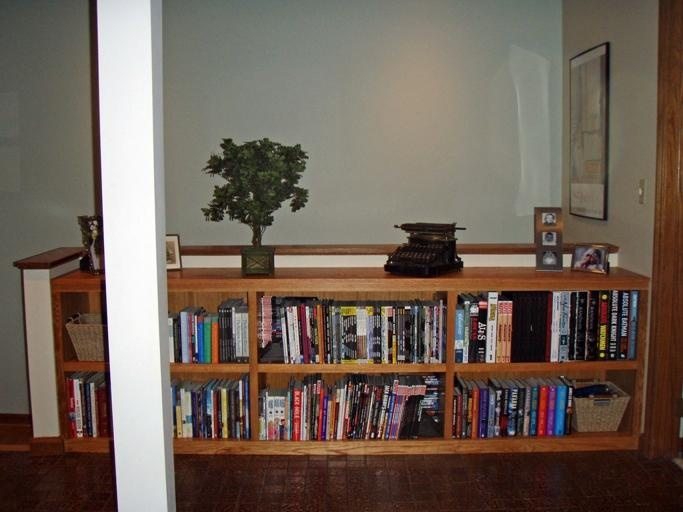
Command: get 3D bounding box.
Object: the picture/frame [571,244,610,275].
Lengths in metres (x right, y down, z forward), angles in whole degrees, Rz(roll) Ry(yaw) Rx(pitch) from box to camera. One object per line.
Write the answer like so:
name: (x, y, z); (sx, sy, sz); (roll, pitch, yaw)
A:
picture/frame: (1.495, 0.020, 3.883); (0.165, 0.152, 0.061); (6, 5, 36)

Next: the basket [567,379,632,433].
basket: (1.545, 0.895, 3.890); (0.299, 0.212, 0.276); (-1, 2, 0)

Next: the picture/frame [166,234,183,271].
picture/frame: (-1.027, -0.025, 3.850); (0.011, 0.215, 0.187); (-6, -2, 25)

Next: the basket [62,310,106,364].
basket: (-1.511, 0.481, 3.888); (0.239, 0.271, 0.245); (-2, 4, -4)

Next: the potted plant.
potted plant: (-0.564, -0.332, 4.174); (0.533, 0.850, 0.700); (-6, 18, -32)
